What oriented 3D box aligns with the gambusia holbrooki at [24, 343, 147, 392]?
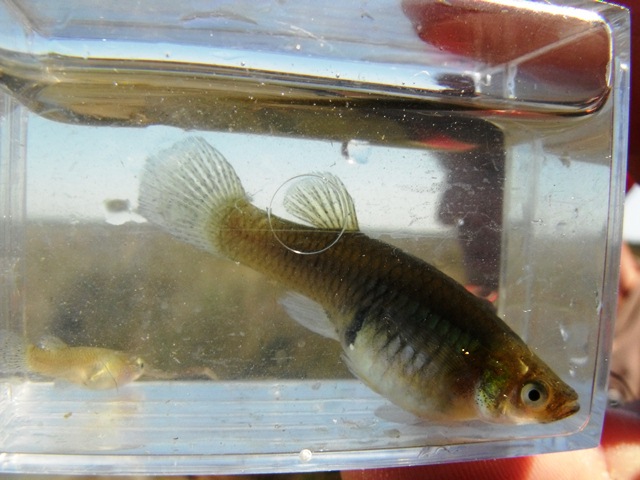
[{"bbox_3d":[-1.364,0.732,4.473,0.730,0.247,0.285,8,90,-2],"label":"gambusia holbrooki"}]
